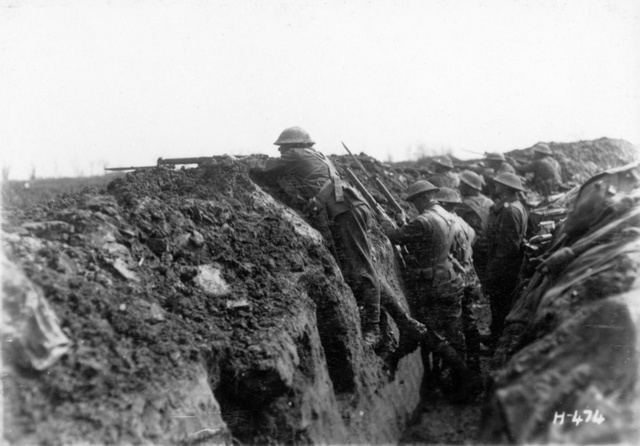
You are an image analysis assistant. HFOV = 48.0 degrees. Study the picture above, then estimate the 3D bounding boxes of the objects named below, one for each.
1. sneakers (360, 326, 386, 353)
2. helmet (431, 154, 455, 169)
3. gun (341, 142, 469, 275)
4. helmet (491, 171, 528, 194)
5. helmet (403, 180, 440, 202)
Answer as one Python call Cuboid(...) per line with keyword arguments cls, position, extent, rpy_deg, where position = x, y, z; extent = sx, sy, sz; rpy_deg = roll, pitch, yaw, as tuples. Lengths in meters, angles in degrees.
Cuboid(cls="sneakers", position=(0.606, 1.354, 8.356), extent=(0.212, 0.300, 0.096), rpy_deg=(4, -10, -35))
Cuboid(cls="helmet", position=(2.154, -1.051, 12.630), extent=(0.305, 0.140, 0.325), rpy_deg=(13, 16, -40))
Cuboid(cls="gun", position=(1.168, -0.077, 9.926), extent=(0.526, 2.346, 0.243), rpy_deg=(-47, -10, 31))
Cuboid(cls="helmet", position=(2.897, -0.518, 10.897), extent=(0.450, 0.164, 0.444), rpy_deg=(26, 5, -1))
Cuboid(cls="helmet", position=(1.378, -0.505, 9.631), extent=(0.347, 0.184, 0.403), rpy_deg=(-31, -23, 30))
